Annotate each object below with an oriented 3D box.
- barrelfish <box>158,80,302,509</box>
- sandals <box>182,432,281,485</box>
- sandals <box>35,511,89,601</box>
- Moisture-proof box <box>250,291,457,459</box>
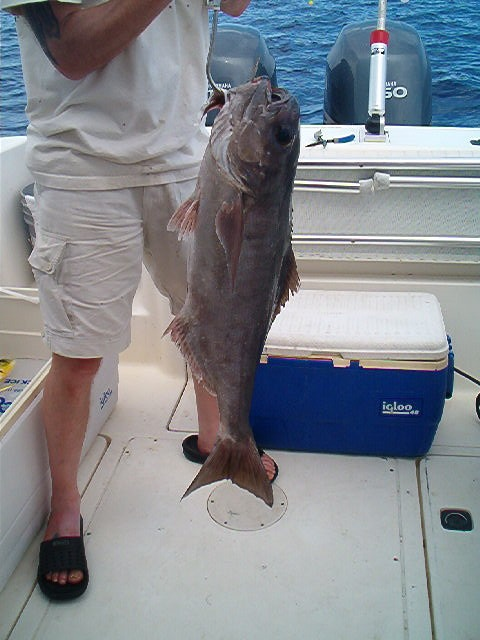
[{"bbox_3d":[-0.014,0.005,0.820,0.215,0.702,0.144,0,25,6],"label":"barrelfish"},{"bbox_3d":[-0.044,0.427,1.738,0.346,0.112,0.131,17,21,27],"label":"sandals"},{"bbox_3d":[-0.466,0.586,1.364,0.106,0.089,0.318,-2,24,-14],"label":"sandals"},{"bbox_3d":[0.370,0.194,1.661,0.632,0.461,0.494,1,20,10],"label":"Moisture-proof box"}]
